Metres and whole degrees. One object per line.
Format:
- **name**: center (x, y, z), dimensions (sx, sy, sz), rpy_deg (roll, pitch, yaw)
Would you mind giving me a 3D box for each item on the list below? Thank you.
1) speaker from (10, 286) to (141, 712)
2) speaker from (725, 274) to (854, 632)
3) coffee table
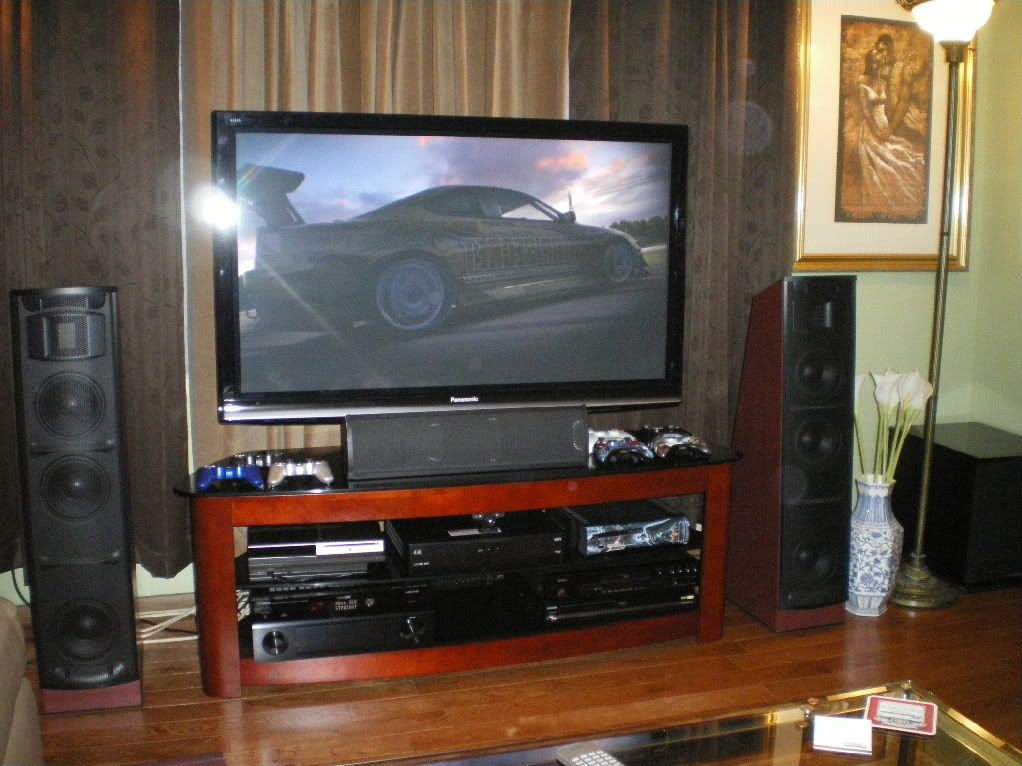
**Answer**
- **speaker**: center (-1.373, 0.380, 2.959), dimensions (0.366, 1.367, 0.100), rpy_deg (-6, 5, -17)
- **speaker**: center (1.066, 0.264, 3.534), dimensions (0.486, 1.339, 0.310), rpy_deg (-5, 5, 0)
- **coffee table**: center (-0.135, 0.646, 3.197), dimensions (1.858, 0.785, 0.156), rpy_deg (-6, 5, -10)
